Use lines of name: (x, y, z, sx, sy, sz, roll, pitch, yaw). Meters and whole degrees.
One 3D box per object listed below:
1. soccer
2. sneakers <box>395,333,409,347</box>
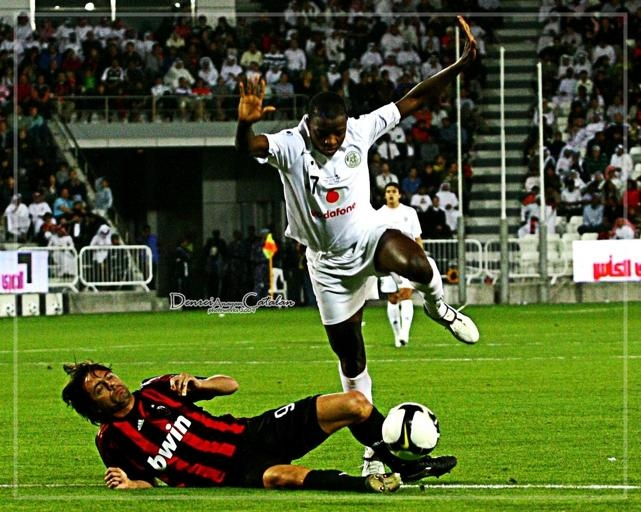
soccer: (1.085, 2.129, 17.323, 0.637, 0.728, 0.654, 1, 4, 7)
sneakers: (1.314, 1.401, 23.465, 0.103, 0.131, 0.303, -13, -24, -8)
